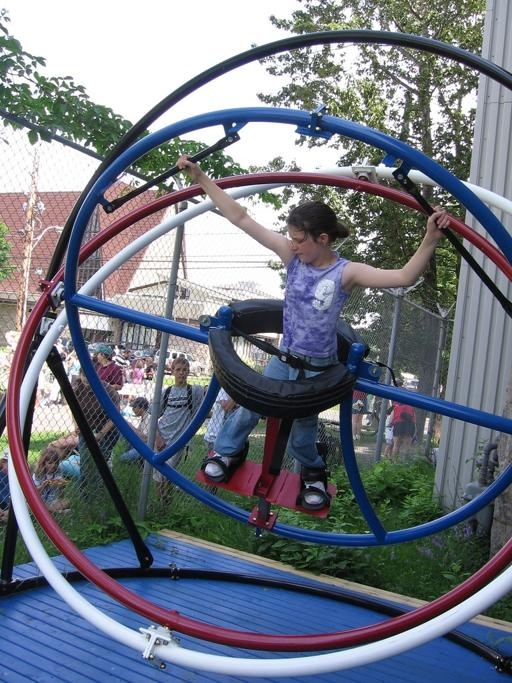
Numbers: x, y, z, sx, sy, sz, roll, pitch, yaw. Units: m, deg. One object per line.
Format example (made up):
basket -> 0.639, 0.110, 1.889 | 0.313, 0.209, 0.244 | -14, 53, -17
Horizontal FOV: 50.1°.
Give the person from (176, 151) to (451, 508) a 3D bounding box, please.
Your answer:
person -> 0.146, 0.067, 1.968 | 0.718, 1.403, 0.821 | -6, 12, -14
